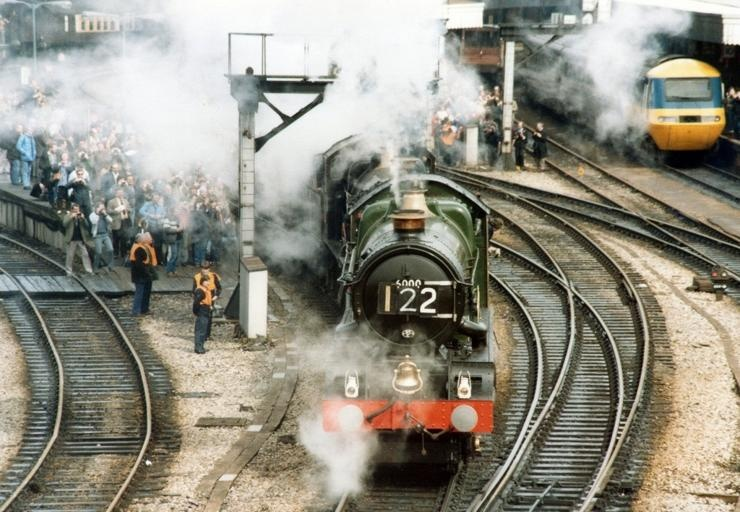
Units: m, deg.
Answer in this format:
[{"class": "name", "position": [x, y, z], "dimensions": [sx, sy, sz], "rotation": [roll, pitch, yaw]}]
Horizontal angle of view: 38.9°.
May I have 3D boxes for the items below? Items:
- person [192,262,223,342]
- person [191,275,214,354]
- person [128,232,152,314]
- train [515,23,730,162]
[{"class": "person", "position": [-3.809, 1.142, 24.472], "dimensions": [0.731, 2.128, 0.612], "rotation": [-10, 25, -28]}, {"class": "person", "position": [-3.878, 1.343, 24.262], "dimensions": [0.357, 1.747, 0.656], "rotation": [4, 14, 20]}, {"class": "person", "position": [-5.522, 0.470, 25.445], "dimensions": [0.573, 1.986, 0.360], "rotation": [-4, 13, -15]}, {"class": "train", "position": [10.122, -6.266, 39.612], "dimensions": [3.165, 4.142, 16.679], "rotation": [-2, 18, -9]}]
